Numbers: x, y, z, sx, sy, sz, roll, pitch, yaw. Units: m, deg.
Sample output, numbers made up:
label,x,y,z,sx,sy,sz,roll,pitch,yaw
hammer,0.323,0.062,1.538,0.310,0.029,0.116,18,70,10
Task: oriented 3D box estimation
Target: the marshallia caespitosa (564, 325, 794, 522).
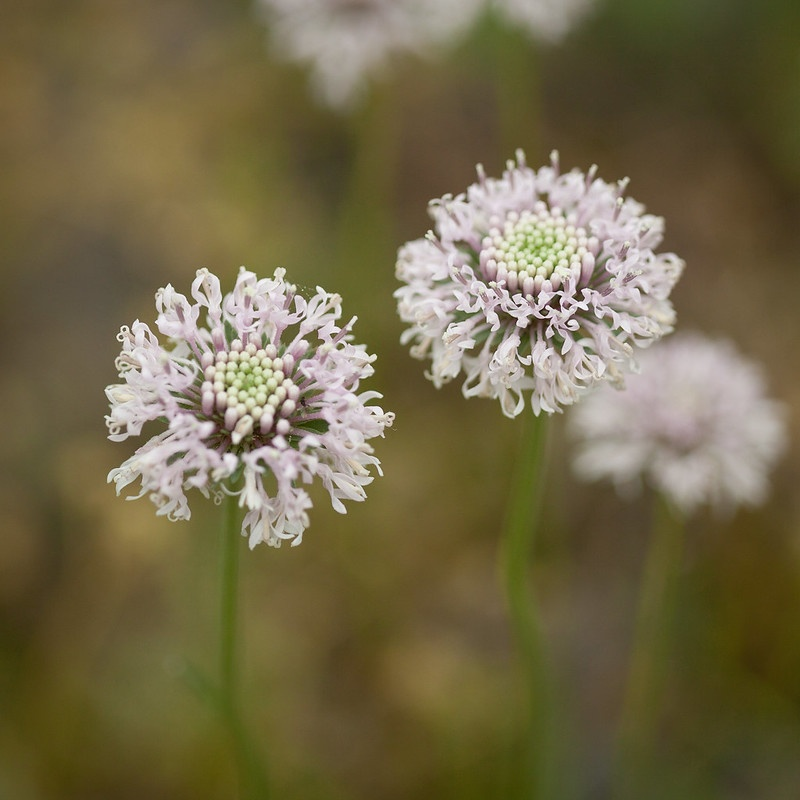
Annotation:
label,x,y,z,sx,sy,sz,roll,pitch,yaw
marshallia caespitosa,1.515,0.298,4.969,1.097,1.171,0.497,29,-62,8
